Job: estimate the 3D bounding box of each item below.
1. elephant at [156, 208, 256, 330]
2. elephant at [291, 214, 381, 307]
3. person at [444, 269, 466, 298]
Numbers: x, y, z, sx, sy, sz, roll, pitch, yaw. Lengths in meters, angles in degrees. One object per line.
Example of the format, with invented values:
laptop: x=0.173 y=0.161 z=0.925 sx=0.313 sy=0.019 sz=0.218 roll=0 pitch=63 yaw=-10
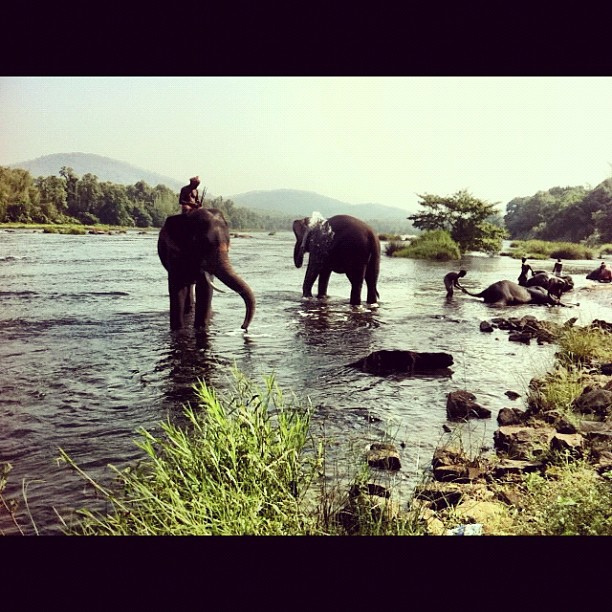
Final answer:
elephant: x=-1.287 y=-0.422 z=7.827 sx=1.510 sy=1.517 sz=0.691 roll=13 pitch=19 yaw=43
elephant: x=0.427 y=-0.752 z=10.276 sx=1.626 sy=1.344 sz=0.807 roll=11 pitch=5 yaw=37
person: x=2.421 y=-0.410 z=10.467 sx=0.320 sy=0.488 sz=0.800 roll=2 pitch=14 yaw=12
